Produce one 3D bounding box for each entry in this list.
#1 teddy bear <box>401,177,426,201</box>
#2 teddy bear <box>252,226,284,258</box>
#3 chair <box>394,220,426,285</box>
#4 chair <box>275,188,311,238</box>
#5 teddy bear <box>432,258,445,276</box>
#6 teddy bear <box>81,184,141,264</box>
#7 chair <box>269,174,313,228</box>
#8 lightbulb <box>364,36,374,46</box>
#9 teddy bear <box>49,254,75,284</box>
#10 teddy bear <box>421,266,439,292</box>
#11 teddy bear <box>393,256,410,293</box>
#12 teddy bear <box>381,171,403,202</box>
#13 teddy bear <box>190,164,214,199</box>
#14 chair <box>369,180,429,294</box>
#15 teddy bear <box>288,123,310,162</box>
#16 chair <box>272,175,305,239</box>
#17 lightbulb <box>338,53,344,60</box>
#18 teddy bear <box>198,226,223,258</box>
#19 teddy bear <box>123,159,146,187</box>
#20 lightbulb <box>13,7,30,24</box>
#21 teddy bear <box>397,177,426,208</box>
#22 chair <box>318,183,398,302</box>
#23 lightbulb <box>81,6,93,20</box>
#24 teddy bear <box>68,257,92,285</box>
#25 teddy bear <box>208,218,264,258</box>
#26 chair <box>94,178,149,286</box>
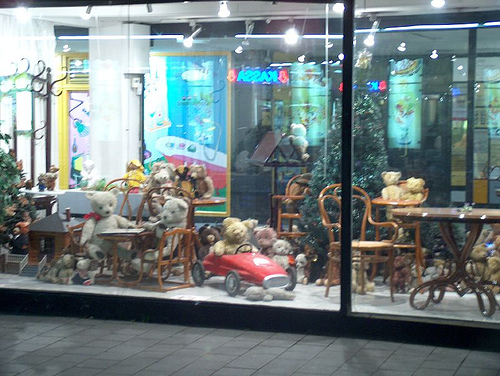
[{"bbox_3d":[1.494,-0.002,4.017,0.177,0.199,0.112,13,20,36],"label":"teddy bear"},{"bbox_3d":[0.195,0.529,4.399,0.217,0.343,0.174,-25,-9,10],"label":"teddy bear"},{"bbox_3d":[1.408,0.510,4.045,0.278,0.441,0.221,0,-16,26],"label":"chair"},{"bbox_3d":[0.361,0.274,4.595,0.491,0.572,0.381,0,-2,1],"label":"chair"},{"bbox_3d":[1.722,0.712,3.996,0.040,0.128,0.129,-14,-32,-38],"label":"teddy bear"},{"bbox_3d":[-1.500,0.376,4.740,0.612,0.746,0.466,1,9,-20],"label":"teddy bear"},{"bbox_3d":[0.458,0.188,4.197,0.476,0.584,0.441,1,5,-9],"label":"chair"},{"bbox_3d":[1.077,-1.327,3.964,0.071,0.097,0.069,22,27,18],"label":"lightbulb"},{"bbox_3d":[-1.957,0.841,4.639,0.231,0.285,0.118,-12,-17,27],"label":"teddy bear"},{"bbox_3d":[1.642,0.782,4.025,0.146,0.143,0.040,0,4,12],"label":"teddy bear"},{"bbox_3d":[1.387,0.795,4.060,0.140,0.323,0.103,1,4,23],"label":"teddy bear"},{"bbox_3d":[1.318,-0.017,4.115,0.183,0.283,0.082,0,4,12],"label":"teddy bear"},{"bbox_3d":[-0.508,-0.077,4.420,0.297,0.380,0.218,1,18,9],"label":"teddy bear"},{"bbox_3d":[1.422,0.429,4.197,0.507,0.959,0.544,-4,8,-24],"label":"chair"},{"bbox_3d":[0.486,-0.469,4.292,0.127,0.286,0.161,-15,-2,26],"label":"teddy bear"},{"bbox_3d":[0.371,0.220,4.585,0.439,0.663,0.455,-2,-1,-26],"label":"chair"},{"bbox_3d":[0.832,-1.204,4.017,0.025,0.066,0.091,-2,3,-10],"label":"lightbulb"},{"bbox_3d":[-0.415,0.547,4.464,0.318,0.283,0.100,-5,-4,7],"label":"teddy bear"},{"bbox_3d":[-1.175,-0.158,4.542,0.256,0.281,0.069,1,4,27],"label":"teddy bear"},{"bbox_3d":[-2.335,-1.777,4.534,0.191,0.141,0.067,0,4,22],"label":"lightbulb"},{"bbox_3d":[1.479,0.027,4.031,0.166,0.296,0.173,-18,34,-38],"label":"teddy bear"},{"bbox_3d":[1.053,0.491,4.260,0.762,1.025,0.664,0,0,2],"label":"chair"},{"bbox_3d":[-1.623,-1.742,4.420,0.094,0.125,0.031,24,10,6],"label":"lightbulb"},{"bbox_3d":[-1.756,0.865,4.627,0.236,0.257,0.144,-1,4,6],"label":"teddy bear"},{"bbox_3d":[-0.111,0.458,4.520,0.695,0.467,0.362,4,-1,4],"label":"teddy bear"},{"bbox_3d":[-1.361,0.455,4.681,0.662,1.017,0.641,-1,38,-2],"label":"chair"}]
